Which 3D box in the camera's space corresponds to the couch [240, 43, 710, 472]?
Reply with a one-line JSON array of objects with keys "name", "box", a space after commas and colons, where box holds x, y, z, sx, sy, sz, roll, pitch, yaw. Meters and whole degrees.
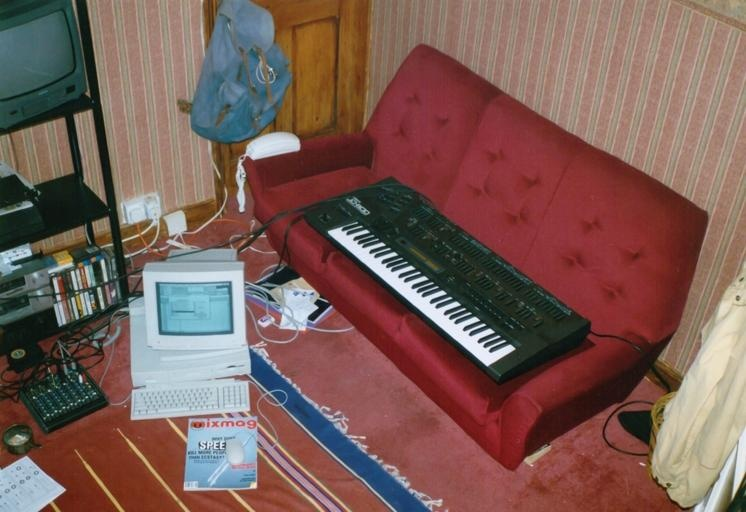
[{"name": "couch", "box": [0.463, -0.138, 3.755, 1.451, 1.219, 2.524, -25, 48, -33]}]

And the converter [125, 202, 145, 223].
[{"name": "converter", "box": [-1.562, -0.289, 4.136, 0.100, 0.113, 0.058, -8, 20, -27]}]

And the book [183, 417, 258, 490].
[{"name": "book", "box": [-0.775, 1.014, 3.228, 0.299, 0.077, 0.337, 2, 53, -4]}]

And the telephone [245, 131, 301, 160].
[{"name": "telephone", "box": [-0.643, -0.686, 4.015, 0.268, 0.085, 0.195, -13, 39, -20]}]
